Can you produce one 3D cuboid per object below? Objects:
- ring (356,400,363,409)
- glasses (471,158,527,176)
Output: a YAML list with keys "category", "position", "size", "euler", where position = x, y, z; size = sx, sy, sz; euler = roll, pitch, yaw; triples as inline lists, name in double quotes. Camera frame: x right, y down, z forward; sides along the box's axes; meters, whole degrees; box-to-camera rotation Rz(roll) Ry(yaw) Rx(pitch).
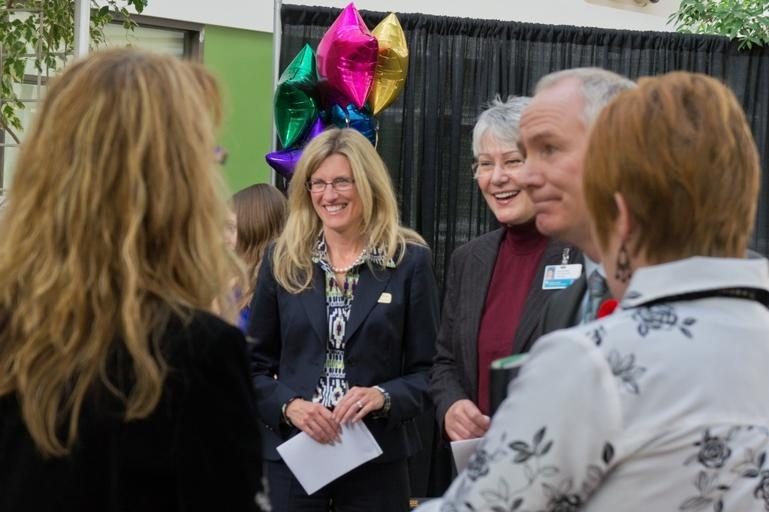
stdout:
- category: "ring"
  position: [-0.092, 0.568, 3.675]
  size: [0.025, 0.025, 0.025]
  euler: [-10, -25, -5]
- category: "glasses"
  position: [0.450, -0.346, 3.672]
  size: [0.144, 0.041, 0.151]
  euler: [-3, -9, 19]
